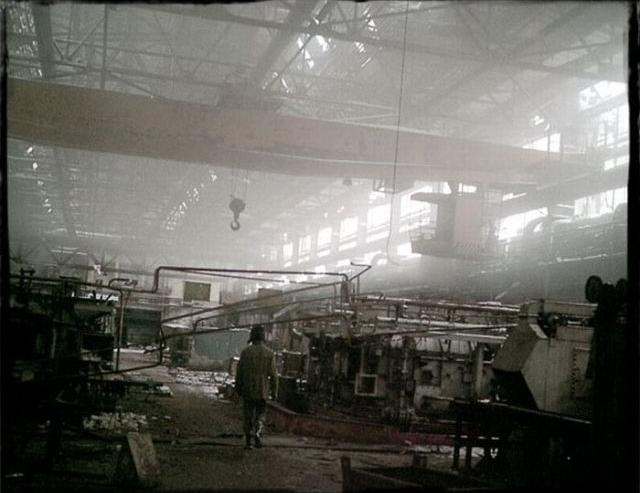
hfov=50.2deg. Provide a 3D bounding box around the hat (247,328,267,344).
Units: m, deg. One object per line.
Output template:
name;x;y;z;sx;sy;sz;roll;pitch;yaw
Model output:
hat;-1.200;1.690;13.064;0.328;0.340;0.313;0;1;-16

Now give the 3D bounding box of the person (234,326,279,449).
person;-1.219;2.665;13.130;0.775;2.308;0.930;3;-7;-1
